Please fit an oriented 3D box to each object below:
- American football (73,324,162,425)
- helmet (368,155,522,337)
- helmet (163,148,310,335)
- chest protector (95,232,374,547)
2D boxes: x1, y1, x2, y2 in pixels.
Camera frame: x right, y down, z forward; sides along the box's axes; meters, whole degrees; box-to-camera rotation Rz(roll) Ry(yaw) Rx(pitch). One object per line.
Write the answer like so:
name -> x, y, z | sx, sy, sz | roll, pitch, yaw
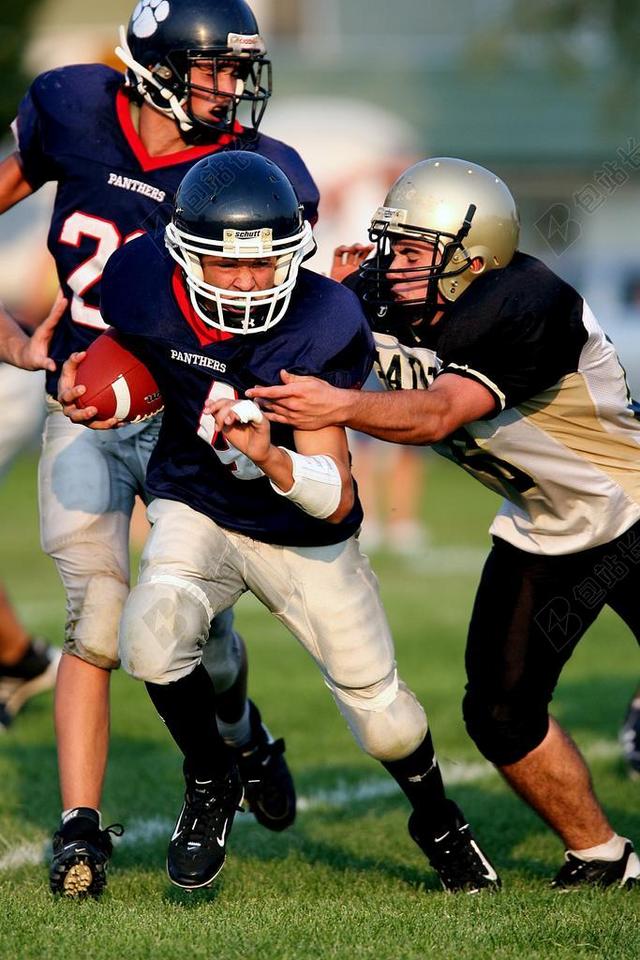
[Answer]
American football -> -0.433, -0.212, 2.178 | 0.161, 0.158, 0.210 | 28, -4, 35
helmet -> 0.264, -0.572, 2.309 | 0.308, 0.359, 0.352 | 27, 40, 34
helmet -> -0.156, -0.482, 1.991 | 0.360, 0.296, 0.352 | 0, 38, -7
chest protector -> -0.171, -0.206, 2.154 | 0.548, 0.693, 0.445 | -7, 24, -24
